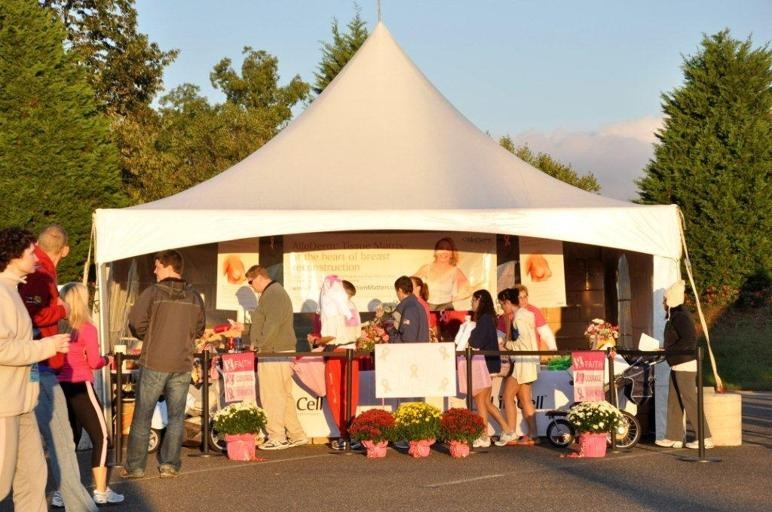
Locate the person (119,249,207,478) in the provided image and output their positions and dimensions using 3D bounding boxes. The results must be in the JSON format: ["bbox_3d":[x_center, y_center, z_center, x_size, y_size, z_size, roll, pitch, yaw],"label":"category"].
[{"bbox_3d":[-3.639,1.785,19.431,1.277,3.718,0.534,-1,-7,-14],"label":"person"}]

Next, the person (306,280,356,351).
[{"bbox_3d":[-0.850,1.112,21.908,0.658,1.290,0.974,3,25,-23],"label":"person"}]

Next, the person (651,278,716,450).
[{"bbox_3d":[5.318,1.942,20.988,0.779,3.012,1.179,-2,-7,-7],"label":"person"}]

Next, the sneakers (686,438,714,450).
[{"bbox_3d":[5.686,3.367,20.959,0.523,0.292,0.202,-3,-5,38],"label":"sneakers"}]

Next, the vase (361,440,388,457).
[{"bbox_3d":[-0.181,3.397,20.619,0.319,0.263,0.335,-2,-8,32],"label":"vase"}]

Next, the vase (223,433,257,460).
[{"bbox_3d":[-2.541,3.329,20.528,0.431,0.403,0.469,-1,-6,6],"label":"vase"}]

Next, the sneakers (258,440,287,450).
[{"bbox_3d":[-2.022,3.442,21.230,0.492,0.259,0.209,5,-4,-10],"label":"sneakers"}]

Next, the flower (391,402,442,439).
[{"bbox_3d":[0.573,2.916,20.519,0.614,0.532,0.631,4,-5,-7],"label":"flower"}]

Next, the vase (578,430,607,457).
[{"bbox_3d":[3.656,3.303,20.594,0.432,0.361,0.422,8,-11,-44],"label":"vase"}]

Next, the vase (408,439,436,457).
[{"bbox_3d":[0.646,3.401,20.661,0.437,0.319,0.333,-3,-7,1],"label":"vase"}]

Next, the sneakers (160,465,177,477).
[{"bbox_3d":[-3.596,3.564,19.358,0.299,0.156,0.133,-1,2,-34],"label":"sneakers"}]

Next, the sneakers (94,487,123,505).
[{"bbox_3d":[-4.348,3.743,18.382,0.439,0.265,0.223,1,2,-21],"label":"sneakers"}]

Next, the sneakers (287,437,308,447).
[{"bbox_3d":[-1.598,3.403,21.389,0.373,0.188,0.147,2,-2,-7],"label":"sneakers"}]

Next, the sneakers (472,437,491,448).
[{"bbox_3d":[1.752,3.372,21.111,0.395,0.192,0.142,5,-7,-42],"label":"sneakers"}]

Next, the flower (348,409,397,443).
[{"bbox_3d":[-0.223,2.983,20.515,0.543,0.508,0.612,1,-4,-3],"label":"flower"}]

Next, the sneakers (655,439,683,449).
[{"bbox_3d":[5.152,3.399,21.164,0.416,0.160,0.178,4,-5,11],"label":"sneakers"}]

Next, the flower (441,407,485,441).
[{"bbox_3d":[1.336,2.973,20.544,0.547,0.574,0.583,2,1,10],"label":"flower"}]

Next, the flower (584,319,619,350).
[{"bbox_3d":[4.148,1.521,22.305,0.666,0.752,0.697,3,-5,-15],"label":"flower"}]

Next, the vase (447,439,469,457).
[{"bbox_3d":[1.323,3.402,20.653,0.364,0.319,0.317,-3,-7,1],"label":"vase"}]

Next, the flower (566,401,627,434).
[{"bbox_3d":[3.633,2.828,20.425,0.598,0.437,0.626,0,2,-1],"label":"flower"}]
